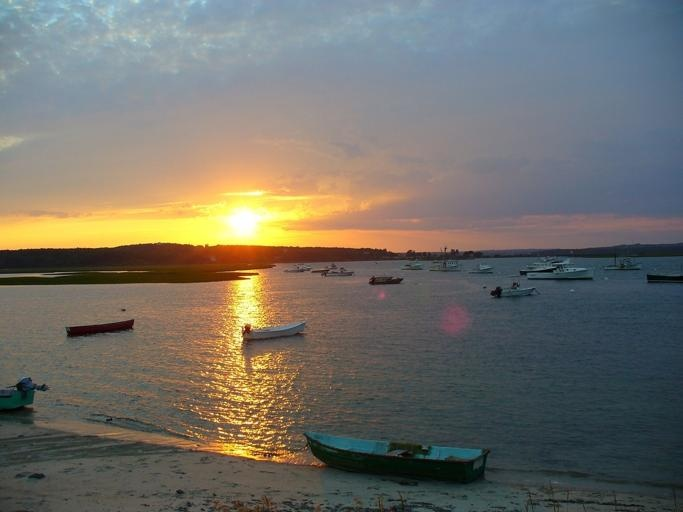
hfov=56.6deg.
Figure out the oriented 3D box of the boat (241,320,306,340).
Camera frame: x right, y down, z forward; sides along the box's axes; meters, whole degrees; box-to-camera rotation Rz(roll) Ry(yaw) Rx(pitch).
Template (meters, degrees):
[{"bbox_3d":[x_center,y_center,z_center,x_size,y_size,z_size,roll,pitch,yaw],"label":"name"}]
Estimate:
[{"bbox_3d":[-6.694,7.299,62.845,6.597,1.730,1.351,-6,11,-37],"label":"boat"}]
